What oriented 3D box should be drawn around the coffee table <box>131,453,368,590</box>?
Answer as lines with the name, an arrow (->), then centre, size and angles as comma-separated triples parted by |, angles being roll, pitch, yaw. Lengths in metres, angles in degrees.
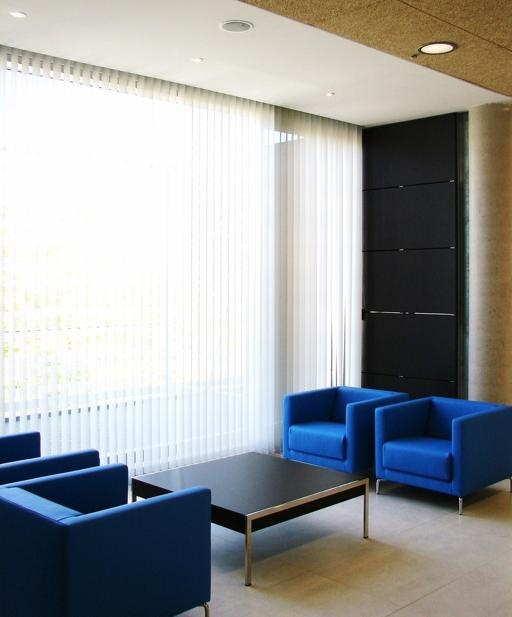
coffee table -> -0.076, 1.032, 3.532 | 1.023, 0.382, 1.028 | 0, -1, -42
